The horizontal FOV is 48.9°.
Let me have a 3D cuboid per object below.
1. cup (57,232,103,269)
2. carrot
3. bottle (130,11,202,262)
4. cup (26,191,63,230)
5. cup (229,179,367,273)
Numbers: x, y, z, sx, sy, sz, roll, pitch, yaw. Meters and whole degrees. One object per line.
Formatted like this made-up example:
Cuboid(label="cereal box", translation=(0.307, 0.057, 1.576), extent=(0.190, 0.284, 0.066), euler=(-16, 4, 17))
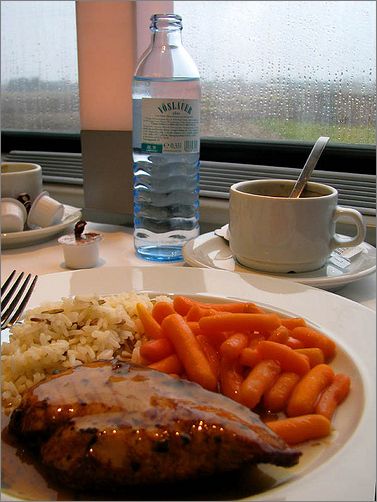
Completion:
Cuboid(label="cup", translation=(-0.243, 0.004, 0.941), extent=(0.086, 0.053, 0.082), euler=(0, 17, 0))
Cuboid(label="carrot", translation=(0.077, 0.140, 0.533), extent=(0.173, 0.047, 0.153), euler=(0, 17, -18))
Cuboid(label="bottle", translation=(-0.049, -0.267, 1.026), extent=(0.183, 0.563, 0.293), euler=(0, 12, -7))
Cuboid(label="cup", translation=(-0.399, -0.106, 1.145), extent=(0.069, 0.098, 0.102), euler=(16, 5, 11))
Cuboid(label="cup", translation=(0.227, -0.045, 0.852), extent=(0.260, 0.150, 0.191), euler=(6, 14, 27))
